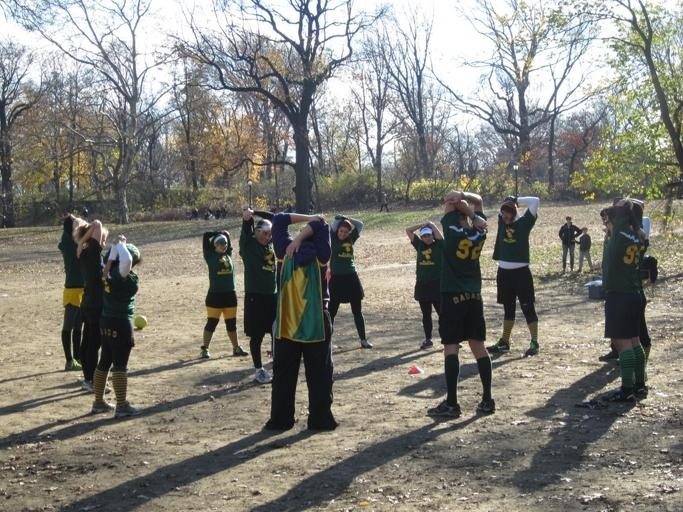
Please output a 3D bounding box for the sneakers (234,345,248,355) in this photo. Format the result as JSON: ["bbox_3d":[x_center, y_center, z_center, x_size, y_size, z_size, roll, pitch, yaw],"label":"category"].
[{"bbox_3d":[-1.951,1.851,17.074,0.262,0.163,0.145,0,4,1],"label":"sneakers"}]

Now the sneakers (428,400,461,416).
[{"bbox_3d":[1.617,2.439,13.972,0.550,0.268,0.217,2,-4,4],"label":"sneakers"}]

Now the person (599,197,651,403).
[{"bbox_3d":[4.593,0.697,14.286,0.666,3.231,0.614,-2,3,8],"label":"person"}]

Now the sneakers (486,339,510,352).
[{"bbox_3d":[2.982,1.717,16.621,0.469,0.264,0.184,-1,2,-3],"label":"sneakers"}]

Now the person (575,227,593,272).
[{"bbox_3d":[7.022,-0.197,25.432,0.408,1.222,1.675,-2,3,16],"label":"person"}]

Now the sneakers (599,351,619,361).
[{"bbox_3d":[4.810,1.831,15.942,0.385,0.278,0.131,0,-2,10],"label":"sneakers"}]

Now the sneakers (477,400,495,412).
[{"bbox_3d":[2.280,2.401,14.003,0.257,0.182,0.162,3,3,30],"label":"sneakers"}]

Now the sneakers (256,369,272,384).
[{"bbox_3d":[-1.390,2.116,15.449,0.381,0.263,0.197,-2,8,-8],"label":"sneakers"}]
